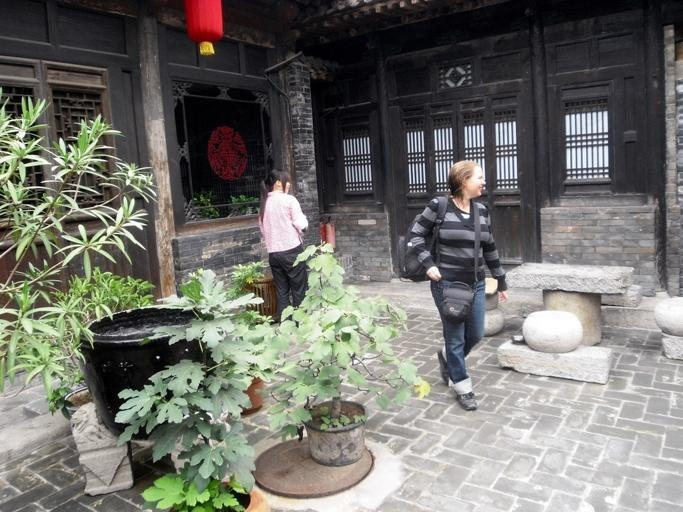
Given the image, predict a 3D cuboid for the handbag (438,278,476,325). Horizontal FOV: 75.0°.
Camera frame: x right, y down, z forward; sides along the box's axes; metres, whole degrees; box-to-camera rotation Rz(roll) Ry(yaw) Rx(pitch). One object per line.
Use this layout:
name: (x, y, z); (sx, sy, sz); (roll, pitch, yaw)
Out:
handbag: (1.043, 0.388, 4.028); (0.305, 0.332, 0.292); (0, 10, 15)

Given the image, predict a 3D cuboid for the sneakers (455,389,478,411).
sneakers: (1.177, 1.337, 4.199); (0.090, 0.111, 0.252); (1, -5, -12)

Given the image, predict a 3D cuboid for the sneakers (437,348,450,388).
sneakers: (1.073, 1.152, 4.690); (0.152, 0.375, 0.124); (1, 16, 31)

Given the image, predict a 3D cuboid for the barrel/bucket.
barrel/bucket: (-1.329, 0.658, 3.259); (0.936, 0.703, 0.922); (1, 13, 0)
